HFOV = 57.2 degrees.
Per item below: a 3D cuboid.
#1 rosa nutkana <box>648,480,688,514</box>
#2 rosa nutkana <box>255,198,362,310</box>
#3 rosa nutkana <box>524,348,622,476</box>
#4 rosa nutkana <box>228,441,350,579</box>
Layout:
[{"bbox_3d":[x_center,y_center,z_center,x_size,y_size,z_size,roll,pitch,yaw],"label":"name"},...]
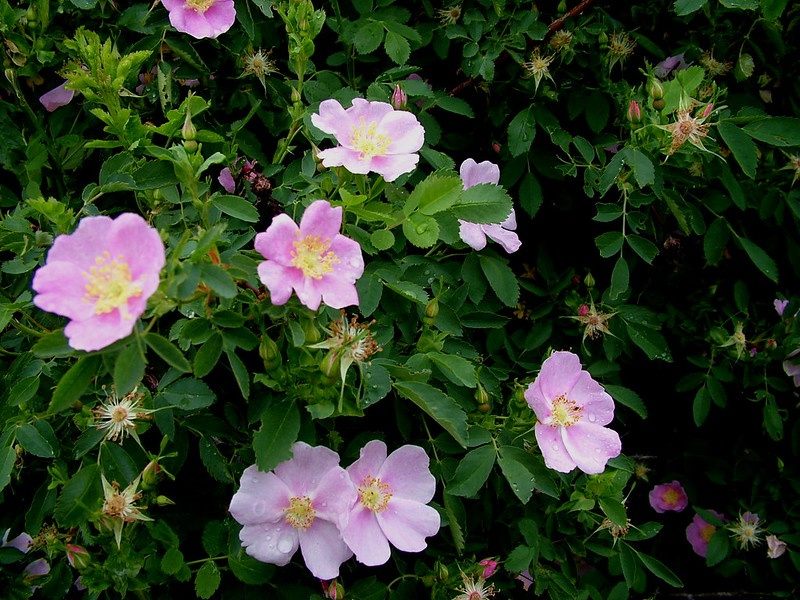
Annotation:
[{"bbox_3d":[1.298,0.953,3.531,0.155,0.132,0.142,-3,70,-14],"label":"rosa nutkana"},{"bbox_3d":[-0.263,-0.088,2.097,0.292,0.229,0.294,-9,72,-16],"label":"rosa nutkana"},{"bbox_3d":[0.540,0.392,2.528,0.364,0.155,0.382,45,56,-11],"label":"rosa nutkana"},{"bbox_3d":[-0.311,0.616,2.189,0.345,0.426,0.143,1,17,6],"label":"rosa nutkana"}]
